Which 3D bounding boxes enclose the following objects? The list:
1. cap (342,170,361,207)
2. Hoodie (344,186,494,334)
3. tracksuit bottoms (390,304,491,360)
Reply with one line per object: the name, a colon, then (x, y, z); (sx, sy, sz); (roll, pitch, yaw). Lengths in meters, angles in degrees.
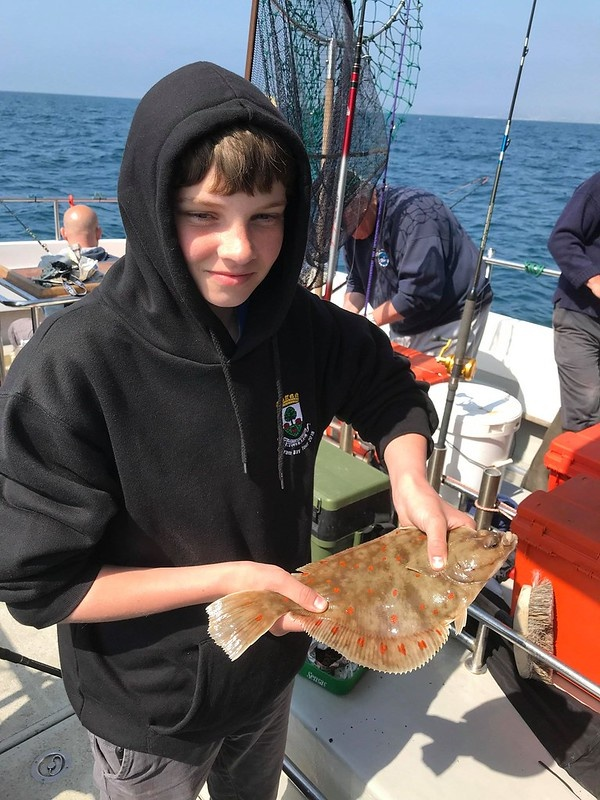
cap: (0.260, -1.016, 3.129); (0.125, 0.165, 0.034); (-15, 33, -28)
Hoodie: (0.594, -1.016, 4.537); (0.842, 0.824, 1.100); (-25, 28, -26)
tracksuit bottoms: (1.031, -0.472, 4.585); (0.500, 0.248, 0.641); (9, 24, 16)
